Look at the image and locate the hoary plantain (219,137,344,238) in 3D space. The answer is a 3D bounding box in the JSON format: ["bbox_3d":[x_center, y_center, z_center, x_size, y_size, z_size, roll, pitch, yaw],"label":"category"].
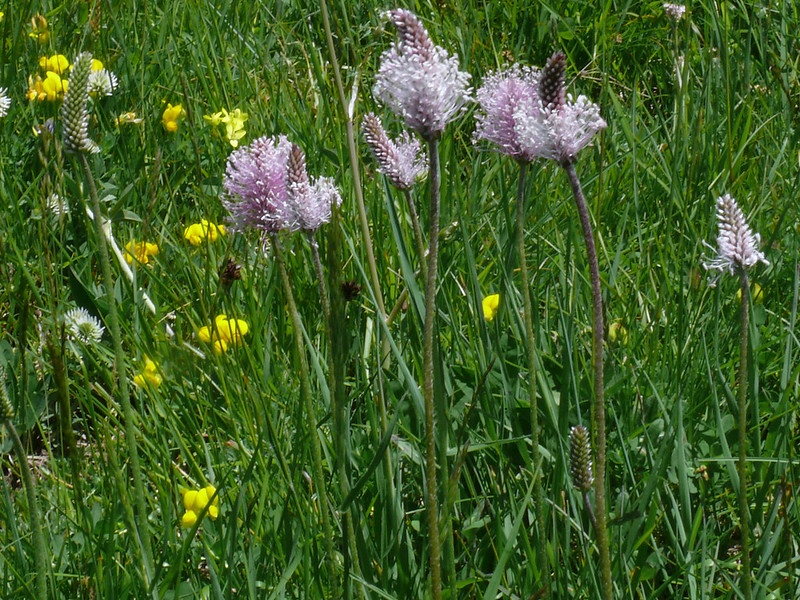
[{"bbox_3d":[-0.315,-0.325,2.656,0.219,0.362,0.276,1,-12,10],"label":"hoary plantain"}]

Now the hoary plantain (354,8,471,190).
[{"bbox_3d":[0.051,-0.557,2.441,0.212,0.301,0.264,-26,33,-29],"label":"hoary plantain"}]

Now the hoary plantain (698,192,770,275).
[{"bbox_3d":[0.847,-0.167,2.505,0.112,0.177,0.118,2,30,20],"label":"hoary plantain"}]
